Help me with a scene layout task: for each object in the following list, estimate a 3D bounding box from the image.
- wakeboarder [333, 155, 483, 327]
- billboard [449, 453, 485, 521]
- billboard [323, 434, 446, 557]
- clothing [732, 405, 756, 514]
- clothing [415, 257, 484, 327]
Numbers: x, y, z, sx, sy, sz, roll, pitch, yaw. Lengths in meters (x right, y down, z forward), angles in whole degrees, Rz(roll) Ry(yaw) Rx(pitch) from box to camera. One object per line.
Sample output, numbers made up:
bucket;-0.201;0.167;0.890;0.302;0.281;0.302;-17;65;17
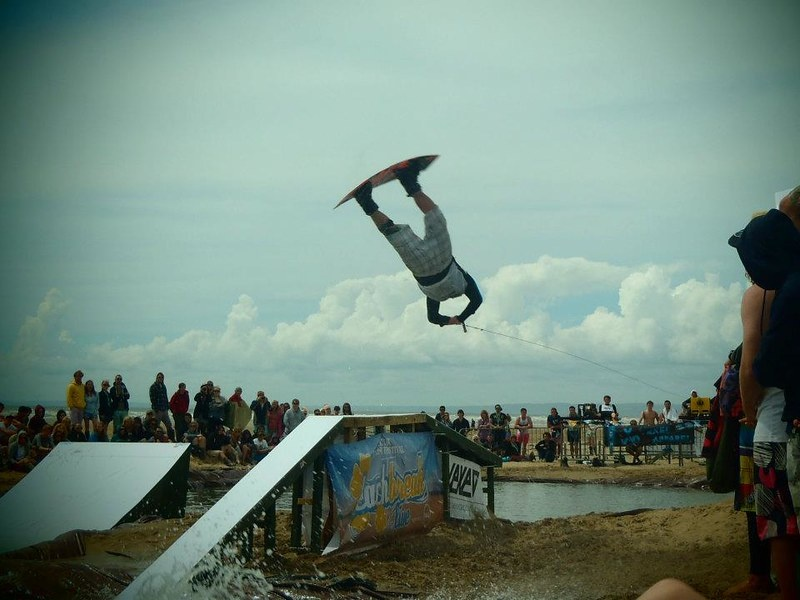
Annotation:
wakeboarder;0.535;-1.274;17.919;2.188;3.410;1.576;-42;21;-6
billboard;0.920;2.500;12.377;0.276;0.879;0.997;-4;-4;26
billboard;-0.162;2.327;11.243;0.284;1.334;2.088;-3;-4;36
clothing;3.121;1.468;8.274;0.225;0.845;0.076;-3;5;-36
clothing;0.923;-0.107;19.000;1.133;0.547;1.923;-27;-41;-5
